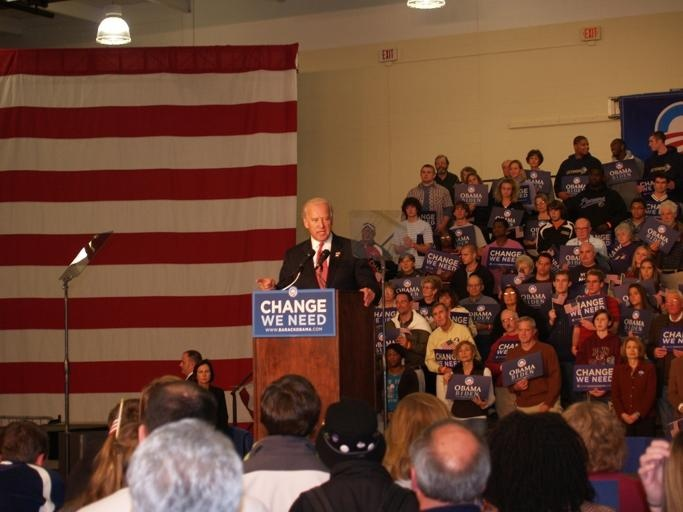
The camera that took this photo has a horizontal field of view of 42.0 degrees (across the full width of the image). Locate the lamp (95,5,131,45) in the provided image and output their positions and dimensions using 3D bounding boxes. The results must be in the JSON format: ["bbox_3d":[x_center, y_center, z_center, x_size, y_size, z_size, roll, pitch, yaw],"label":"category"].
[{"bbox_3d":[-3.036,-3.123,11.792,0.367,0.588,0.563,0,-4,-26],"label":"lamp"}]

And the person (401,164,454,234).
[{"bbox_3d":[1.215,-0.549,12.353,0.642,1.496,0.462,-2,-8,7],"label":"person"}]

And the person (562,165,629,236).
[{"bbox_3d":[3.251,-0.536,11.515,0.826,1.289,0.568,5,-22,18],"label":"person"}]

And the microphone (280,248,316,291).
[{"bbox_3d":[-0.319,0.086,6.638,0.248,0.283,0.313,-1,-4,-4],"label":"microphone"}]

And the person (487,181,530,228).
[{"bbox_3d":[2.207,-0.658,11.523,0.485,0.904,0.234,-3,-26,16],"label":"person"}]

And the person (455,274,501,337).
[{"bbox_3d":[1.603,0.593,10.285,0.468,0.882,0.289,-6,-28,6],"label":"person"}]

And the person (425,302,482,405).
[{"bbox_3d":[1.195,1.041,9.643,0.484,1.082,0.707,-1,-4,-9],"label":"person"}]

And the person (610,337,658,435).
[{"bbox_3d":[2.922,1.543,8.883,0.425,1.402,0.413,2,16,33],"label":"person"}]

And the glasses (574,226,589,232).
[{"bbox_3d":[2.910,-0.320,10.636,0.163,0.064,0.212,-3,-4,13],"label":"glasses"}]

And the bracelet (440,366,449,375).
[{"bbox_3d":[1.105,1.215,9.466,0.082,0.090,0.020,-8,-8,33],"label":"bracelet"}]

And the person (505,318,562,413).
[{"bbox_3d":[1.986,1.103,9.196,0.550,0.940,0.388,-3,-4,23],"label":"person"}]

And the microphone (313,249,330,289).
[{"bbox_3d":[-0.133,0.089,6.693,0.110,0.283,0.177,-1,-4,-2],"label":"microphone"}]

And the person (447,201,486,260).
[{"bbox_3d":[1.578,-0.278,11.608,0.578,0.885,0.245,-7,-34,22],"label":"person"}]

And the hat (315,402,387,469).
[{"bbox_3d":[0.107,1.008,5.119,0.376,0.278,0.528,2,17,25],"label":"hat"}]

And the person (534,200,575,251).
[{"bbox_3d":[2.714,-0.275,11.095,0.479,0.860,0.416,-2,-15,13],"label":"person"}]

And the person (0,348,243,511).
[{"bbox_3d":[-1.046,1.104,4.880,0.924,0.781,0.784,3,21,3],"label":"person"}]

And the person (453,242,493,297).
[{"bbox_3d":[1.622,0.251,10.983,0.538,0.810,0.388,-5,2,31],"label":"person"}]

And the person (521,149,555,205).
[{"bbox_3d":[2.655,-1.015,12.090,0.360,0.868,0.259,-2,-13,12],"label":"person"}]

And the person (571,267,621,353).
[{"bbox_3d":[2.714,0.751,9.548,0.507,1.180,0.376,4,7,44],"label":"person"}]
